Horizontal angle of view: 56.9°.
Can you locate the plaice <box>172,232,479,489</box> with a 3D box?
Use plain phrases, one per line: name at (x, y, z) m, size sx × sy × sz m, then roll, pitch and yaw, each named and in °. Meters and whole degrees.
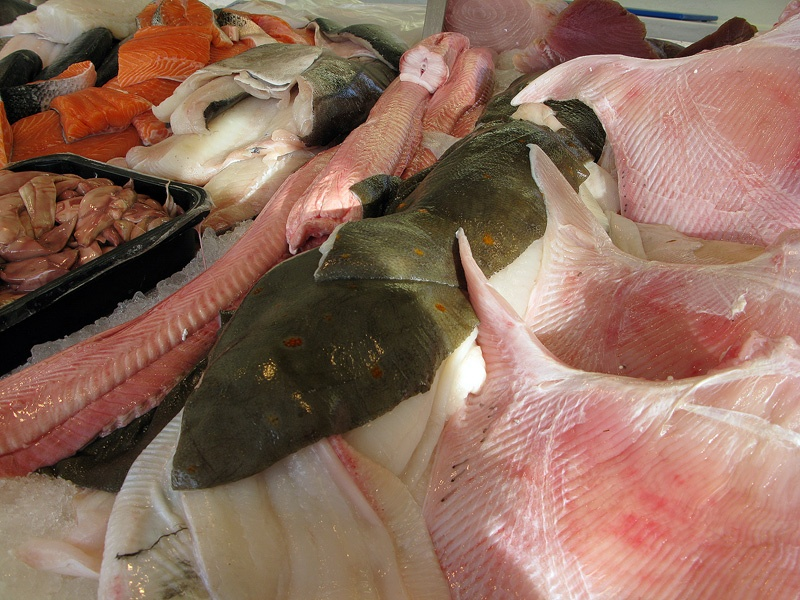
plaice at (-0.206, 0.103, 1.524) m, size 0.536 × 0.164 × 0.784 m, roll 19°, pitch 32°, yaw 11°
